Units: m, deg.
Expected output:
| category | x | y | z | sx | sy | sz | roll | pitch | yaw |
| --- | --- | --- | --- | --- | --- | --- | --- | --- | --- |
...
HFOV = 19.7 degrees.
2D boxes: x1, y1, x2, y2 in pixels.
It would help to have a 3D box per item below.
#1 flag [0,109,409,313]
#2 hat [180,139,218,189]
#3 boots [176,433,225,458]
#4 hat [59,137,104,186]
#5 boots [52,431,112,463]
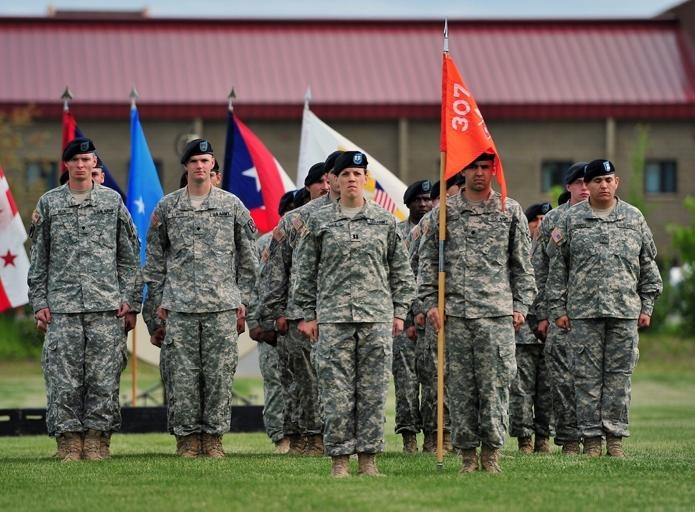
| category | x | y | z | sx | sy | sz | roll | pitch | yaw |
| --- | --- | --- | --- | --- | --- | --- | --- | --- | --- |
| flag | -2.512 | -0.760 | 33.542 | 4.893 | 5.282 | 0.753 | 0 | -17 | -8 |
| hat | -2.313 | -1.596 | 30.998 | 0.526 | 0.642 | 0.842 | -3 | -29 | -6 |
| boots | -2.249 | 2.888 | 30.487 | 0.727 | 0.359 | 0.323 | 1 | -8 | -10 |
| hat | -4.190 | -1.535 | 30.818 | 0.559 | 0.851 | 0.448 | 4 | -1 | -1 |
| boots | -4.051 | 2.885 | 30.392 | 0.828 | 0.467 | 0.411 | 1 | -8 | -9 |
